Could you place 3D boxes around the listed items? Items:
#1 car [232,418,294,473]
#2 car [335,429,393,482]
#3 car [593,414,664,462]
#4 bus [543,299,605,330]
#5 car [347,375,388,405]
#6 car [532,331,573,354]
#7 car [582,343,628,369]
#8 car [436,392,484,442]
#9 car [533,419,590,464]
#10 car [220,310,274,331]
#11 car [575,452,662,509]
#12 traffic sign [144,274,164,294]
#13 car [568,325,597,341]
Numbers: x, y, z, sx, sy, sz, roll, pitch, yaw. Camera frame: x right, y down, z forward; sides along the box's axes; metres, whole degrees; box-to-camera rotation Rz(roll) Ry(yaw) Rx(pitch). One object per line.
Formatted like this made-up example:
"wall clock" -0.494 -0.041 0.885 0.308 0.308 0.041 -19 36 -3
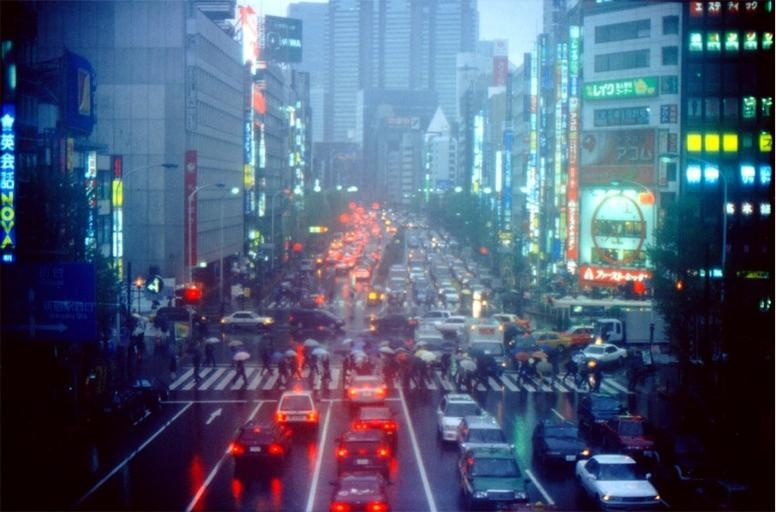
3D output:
"car" -6.186 9.227 40.119 1.914 1.927 4.364 0 -1 -2
"car" -1.221 9.450 39.213 2.431 1.966 2.540 -2 -1 1
"car" 12.387 9.530 42.303 2.300 2.222 3.717 -2 4 2
"bus" 16.794 5.036 71.854 4.604 2.498 1.974 2 -1 5
"car" -1.204 7.763 47.301 2.060 1.348 2.051 1 0 8
"car" 12.974 6.862 64.138 3.258 1.290 1.526 4 -1 -12
"car" 15.668 7.416 60.224 2.585 1.638 3.913 1 0 44
"car" 3.488 8.658 43.724 2.244 1.801 4.496 1 3 4
"car" 8.692 9.575 41.441 2.078 2.176 3.668 -2 4 4
"car" -12.279 5.769 71.828 3.714 1.610 1.830 -2 2 3
"car" 10.584 10.550 37.991 2.770 2.364 4.710 -2 2 3
"traffic sign" -18.164 2.305 64.449 1.320 1.783 0.545 2 -7 4
"car" 15.644 6.245 66.283 1.693 0.996 1.064 6 -1 -4
